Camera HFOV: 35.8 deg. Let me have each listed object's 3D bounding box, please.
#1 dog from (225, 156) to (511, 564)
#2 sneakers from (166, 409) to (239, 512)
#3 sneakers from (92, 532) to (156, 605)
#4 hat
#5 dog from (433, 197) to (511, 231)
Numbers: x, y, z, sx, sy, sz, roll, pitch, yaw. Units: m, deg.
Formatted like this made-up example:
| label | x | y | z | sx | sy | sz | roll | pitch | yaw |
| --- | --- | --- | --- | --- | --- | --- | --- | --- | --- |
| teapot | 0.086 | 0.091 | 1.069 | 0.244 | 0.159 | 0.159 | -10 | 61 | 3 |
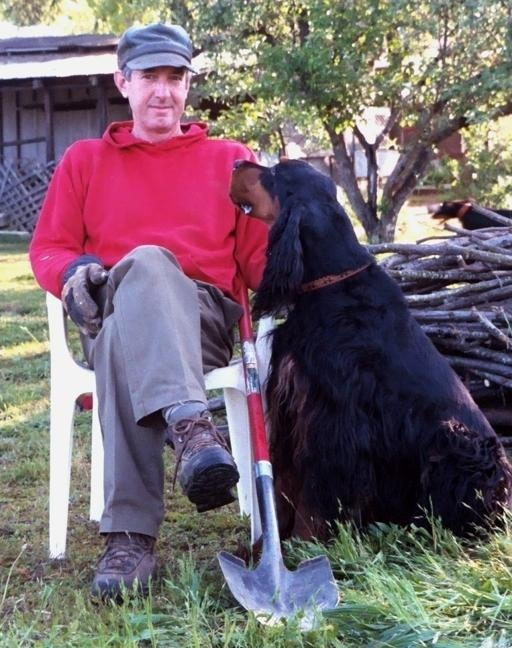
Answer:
| label | x | y | z | sx | sy | sz | roll | pitch | yaw |
| --- | --- | --- | --- | --- | --- | --- | --- | --- | --- |
| dog | 0.339 | 0.131 | 2.367 | 0.778 | 0.980 | 0.353 | -2 | 0 | 11 |
| sneakers | -0.175 | 0.376 | 2.068 | 0.138 | 0.215 | 0.313 | -21 | -28 | -9 |
| sneakers | -0.363 | 0.659 | 2.155 | 0.148 | 0.174 | 0.166 | -2 | 0 | 4 |
| hat | -0.359 | -1.011 | 2.874 | 0.281 | 0.159 | 0.343 | -9 | 24 | -23 |
| dog | 1.335 | -0.679 | 5.111 | 0.412 | 0.194 | 0.607 | -7 | 7 | -28 |
